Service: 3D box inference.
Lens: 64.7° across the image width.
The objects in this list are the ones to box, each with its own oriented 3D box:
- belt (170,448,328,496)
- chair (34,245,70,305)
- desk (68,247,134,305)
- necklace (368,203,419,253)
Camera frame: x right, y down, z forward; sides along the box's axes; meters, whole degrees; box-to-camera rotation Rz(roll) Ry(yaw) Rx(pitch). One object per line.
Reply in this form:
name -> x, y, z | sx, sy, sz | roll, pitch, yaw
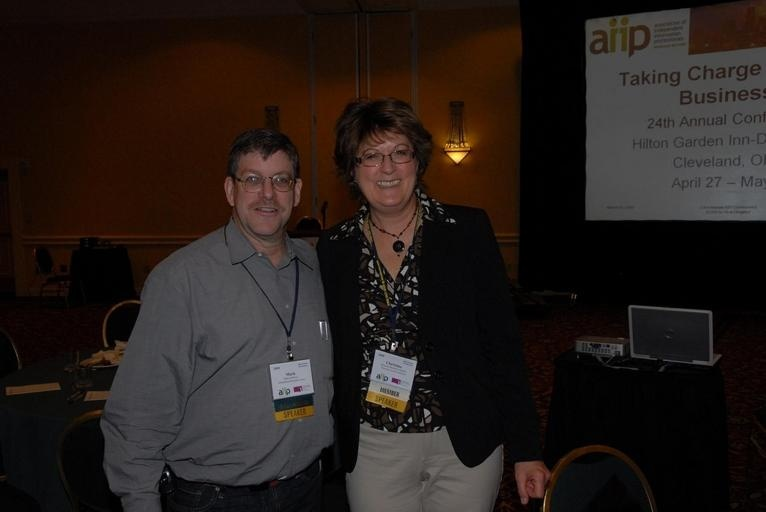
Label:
belt -> -0.685, 1.089, 2.963 | 0.777, 0.101, 0.119 | -2, 4, -15
chair -> -5.674, 0.357, 10.616 | 0.645, 1.007, 0.604 | 1, 6, 8
desk -> -4.755, 0.335, 10.469 | 0.985, 0.908, 1.004 | -1, 0, 2
necklace -> 0.081, -0.165, 3.101 | 0.231, 0.301, 0.014 | -20, -32, 25
